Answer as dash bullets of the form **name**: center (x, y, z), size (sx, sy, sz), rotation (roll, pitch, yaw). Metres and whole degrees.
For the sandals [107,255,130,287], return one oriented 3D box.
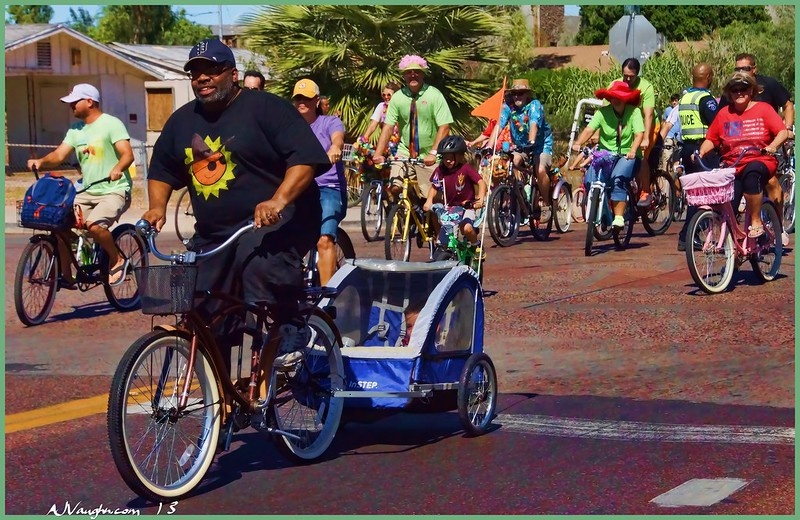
- **sandals**: center (-3.423, 0.146, 11.464), size (0.133, 0.346, 0.091), rotation (1, -13, 0)

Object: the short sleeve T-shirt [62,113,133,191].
- **short sleeve T-shirt**: center (-3.682, -1.317, 11.468), size (0.784, 0.875, 0.445), rotation (-2, 10, 6)

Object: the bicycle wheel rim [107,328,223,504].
- **bicycle wheel rim**: center (-1.589, 1.095, 6.498), size (0.221, 1.157, 1.169), rotation (-2, -18, 37)

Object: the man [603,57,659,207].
- **man**: center (3.514, -2.341, 14.791), size (0.682, 1.501, 0.707), rotation (-4, 21, -42)

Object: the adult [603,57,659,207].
- **adult**: center (3.659, -2.386, 14.711), size (0.622, 1.447, 0.644), rotation (-1, -5, 30)

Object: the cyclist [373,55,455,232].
- **cyclist**: center (0.135, -1.521, 12.811), size (1.183, 2.565, 1.175), rotation (-5, 12, -15)

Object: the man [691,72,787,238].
- **man**: center (4.190, -1.270, 11.524), size (1.081, 2.023, 1.075), rotation (-9, 6, -42)

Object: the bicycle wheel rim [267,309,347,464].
- **bicycle wheel rim**: center (-0.712, 0.952, 7.084), size (0.385, 1.078, 1.121), rotation (-1, -15, 23)

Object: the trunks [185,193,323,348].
- **trunks**: center (-0.968, -0.065, 7.091), size (0.641, 0.775, 1.203), rotation (-1, 2, 20)

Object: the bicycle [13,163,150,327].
- **bicycle**: center (-3.811, -0.182, 11.376), size (1.075, 1.668, 2.364), rotation (10, 9, 22)

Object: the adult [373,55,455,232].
- **adult**: center (0.135, -1.518, 12.797), size (1.107, 2.550, 1.148), rotation (-6, 13, -21)

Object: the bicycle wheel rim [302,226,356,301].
- **bicycle wheel rim**: center (-0.655, 0.034, 8.595), size (0.203, 0.626, 0.621), rotation (9, -1, 31)

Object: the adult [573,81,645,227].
- **adult**: center (3.359, -1.642, 14.614), size (0.803, 2.202, 0.568), rotation (6, 14, 29)

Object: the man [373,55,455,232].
- **man**: center (0.121, -1.514, 12.785), size (1.144, 2.565, 1.135), rotation (-8, 13, -29)

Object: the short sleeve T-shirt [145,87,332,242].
- **short sleeve T-shirt**: center (-1.267, -0.681, 7.075), size (1.387, 1.131, 0.781), rotation (-6, 10, 14)

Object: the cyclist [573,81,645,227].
- **cyclist**: center (3.360, -1.642, 14.616), size (0.803, 2.202, 0.566), rotation (6, 14, 29)

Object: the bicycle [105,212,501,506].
- **bicycle**: center (-0.810, 0.633, 7.301), size (1.646, 1.798, 3.067), rotation (-3, -2, 44)

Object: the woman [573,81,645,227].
- **woman**: center (3.355, -1.642, 14.613), size (0.817, 2.202, 0.553), rotation (5, 14, 26)

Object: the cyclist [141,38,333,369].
- **cyclist**: center (-1.191, -0.411, 6.990), size (1.303, 2.348, 1.243), rotation (-1, 7, 18)

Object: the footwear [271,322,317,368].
- **footwear**: center (-0.787, 0.623, 6.889), size (0.202, 0.321, 0.085), rotation (10, -14, 6)

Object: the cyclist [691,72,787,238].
- **cyclist**: center (4.163, -1.281, 11.550), size (1.100, 2.052, 1.006), rotation (-7, 4, -37)

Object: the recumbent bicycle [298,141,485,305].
- **recumbent bicycle**: center (0.241, -0.606, 12.466), size (1.197, 1.590, 2.590), rotation (-2, -4, 28)

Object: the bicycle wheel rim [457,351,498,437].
- **bicycle wheel rim**: center (0.610, 1.077, 7.544), size (0.106, 0.671, 0.638), rotation (1, -1, 27)

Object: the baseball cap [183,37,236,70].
- **baseball cap**: center (-1.390, -1.486, 6.827), size (0.345, 0.231, 0.329), rotation (-8, 15, -28)

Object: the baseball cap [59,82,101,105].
- **baseball cap**: center (-3.883, -2.049, 11.412), size (0.486, 0.288, 0.326), rotation (3, 1, -15)

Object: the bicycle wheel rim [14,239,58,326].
- **bicycle wheel rim**: center (-4.216, 0.225, 10.879), size (0.321, 0.988, 0.679), rotation (2, 13, 15)
